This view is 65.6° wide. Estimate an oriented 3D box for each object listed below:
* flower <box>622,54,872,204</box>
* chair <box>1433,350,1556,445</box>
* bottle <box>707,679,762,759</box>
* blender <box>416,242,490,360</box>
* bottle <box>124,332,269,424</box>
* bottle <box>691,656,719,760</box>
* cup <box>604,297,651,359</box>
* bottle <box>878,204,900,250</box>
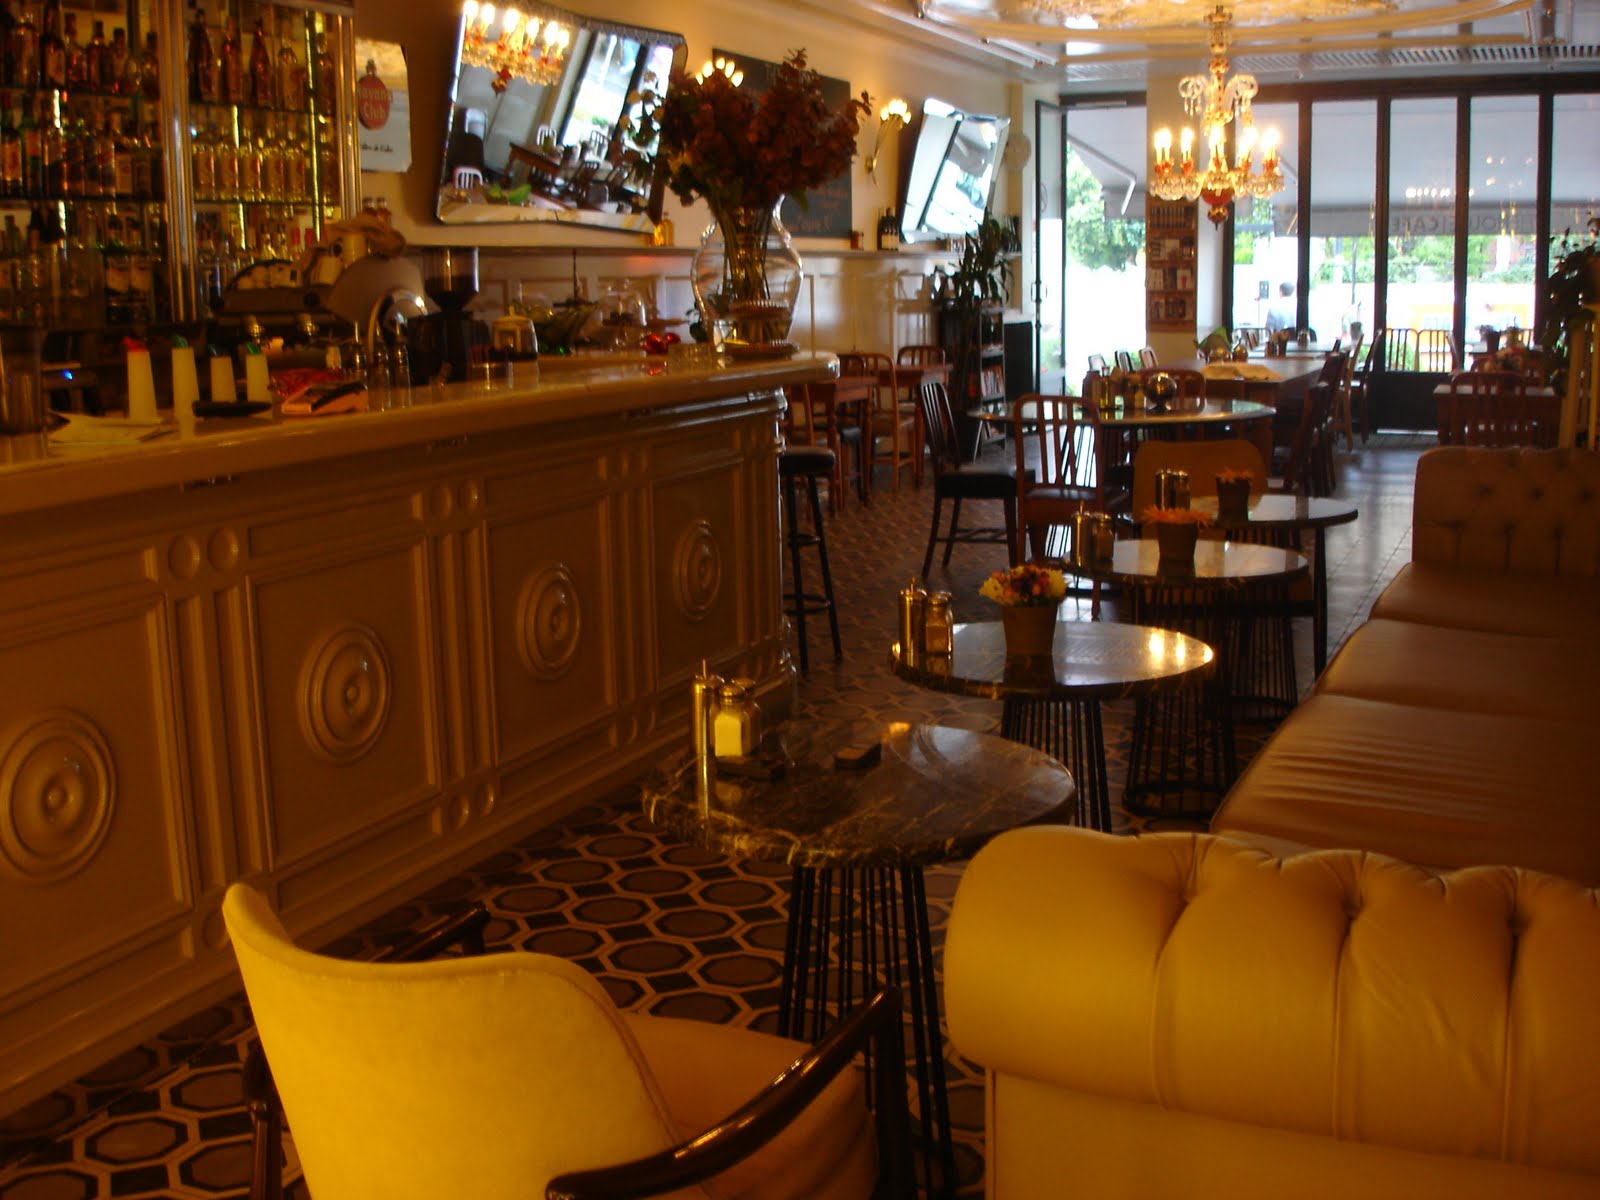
[{"bbox_3d":[-0.210,-1.895,4.972,0.855,0.633,0.388,1,12,-10],"label":"flower"},{"bbox_3d":[5.644,-1.615,10.081,0.878,0.726,1.536,10,15,26],"label":"chair"},{"bbox_3d":[-0.133,0.230,2.557,0.118,0.197,0.129,0,11,0],"label":"bottle"},{"bbox_3d":[-1.236,-1.070,4.431,0.199,0.385,0.737,0,14,-14],"label":"blender"},{"bbox_3d":[-1.663,-0.567,3.260,0.283,0.177,0.306,1,10,0],"label":"bottle"},{"bbox_3d":[-0.200,0.206,2.597,0.055,0.170,0.252,1,14,-6],"label":"bottle"},{"bbox_3d":[-0.836,-1.320,5.861,0.196,0.242,0.475,1,14,-10],"label":"cup"},{"bbox_3d":[0.907,-3.844,12.767,0.186,0.449,0.358,7,13,21],"label":"bottle"}]
